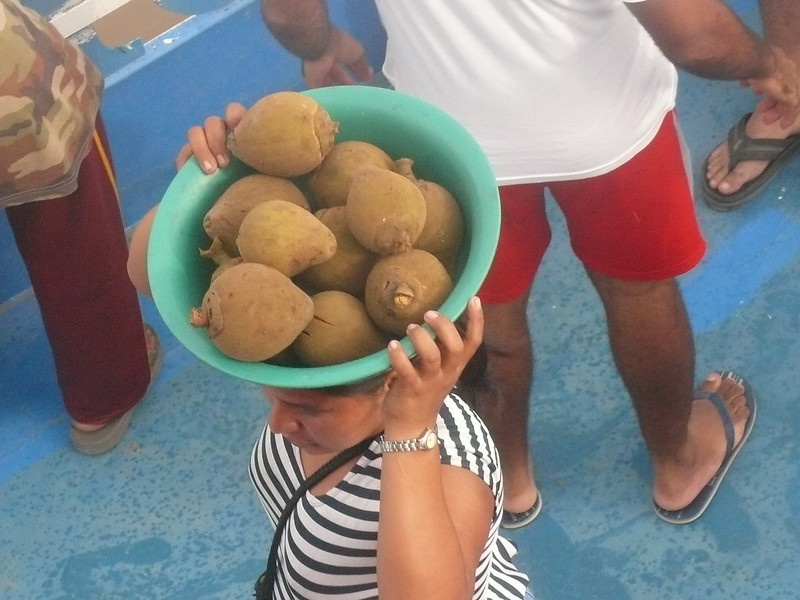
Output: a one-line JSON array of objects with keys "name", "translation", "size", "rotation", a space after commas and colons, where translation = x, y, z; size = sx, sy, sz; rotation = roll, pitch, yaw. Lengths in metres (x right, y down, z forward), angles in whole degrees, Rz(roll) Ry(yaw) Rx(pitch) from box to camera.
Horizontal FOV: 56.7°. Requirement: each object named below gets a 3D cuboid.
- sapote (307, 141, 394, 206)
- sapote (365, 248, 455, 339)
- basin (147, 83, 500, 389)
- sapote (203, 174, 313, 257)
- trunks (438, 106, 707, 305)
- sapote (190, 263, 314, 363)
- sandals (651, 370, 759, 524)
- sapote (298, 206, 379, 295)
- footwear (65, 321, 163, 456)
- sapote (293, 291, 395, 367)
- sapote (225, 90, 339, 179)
[{"name": "sapote", "translation": [-0.089, -0.241, 1.332], "size": [0.111, 0.073, 0.132], "rotation": [18, 64, 23]}, {"name": "sapote", "translation": [0.011, -0.016, 1.247], "size": [0.146, 0.107, 0.124], "rotation": [-31, 68, -15]}, {"name": "basin", "translation": [-0.168, -0.123, 1.370], "size": [0.558, 0.224, 0.583], "rotation": [-3, 74, 9]}, {"name": "sapote", "translation": [-0.258, -0.163, 1.371], "size": [0.164, 0.100, 0.135], "rotation": [-21, 79, -12]}, {"name": "trunks", "translation": [0.436, -0.129, 1.838], "size": [0.603, 0.355, 0.500], "rotation": [-19, 94, 10]}, {"name": "sapote", "translation": [-0.237, 0.018, 1.202], "size": [0.147, 0.067, 0.151], "rotation": [39, 70, 16]}, {"name": "sandals", "translation": [0.943, 0.478, 2.240], "size": [0.219, 0.086, 0.496], "rotation": [30, 85, 38]}, {"name": "sapote", "translation": [-0.097, -0.065, 1.361], "size": [0.132, 0.146, 0.163], "rotation": [-18, 73, 11]}, {"name": "footwear", "translation": [-0.933, 0.344, 2.481], "size": [0.190, 0.155, 0.514], "rotation": [13, 87, 4]}, {"name": "sapote", "translation": [-0.095, 0.052, 1.289], "size": [0.145, 0.109, 0.109], "rotation": [28, 90, 2]}, {"name": "sapote", "translation": [-0.215, -0.302, 1.357], "size": [0.217, 0.161, 0.166], "rotation": [-4, 45, -6]}]
